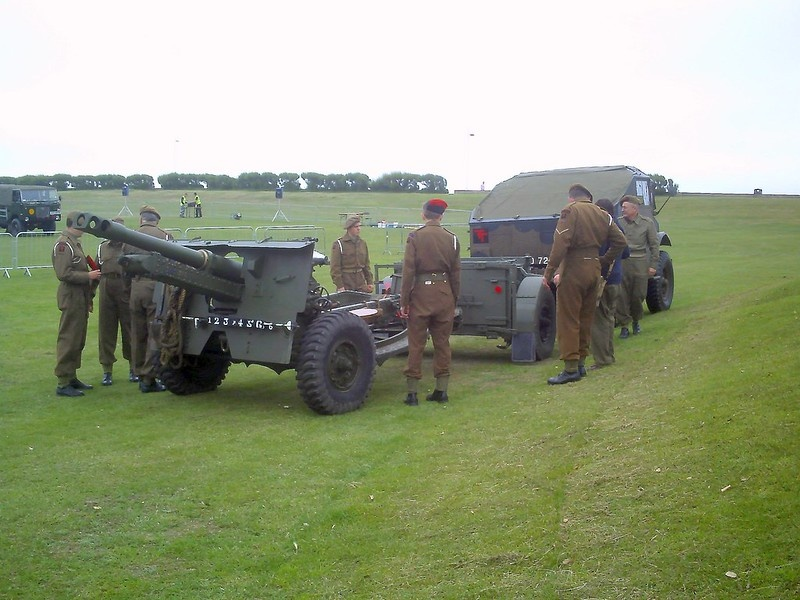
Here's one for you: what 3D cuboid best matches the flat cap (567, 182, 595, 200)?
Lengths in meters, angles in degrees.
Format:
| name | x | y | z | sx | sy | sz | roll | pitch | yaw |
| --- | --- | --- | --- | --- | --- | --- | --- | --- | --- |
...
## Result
| name | x | y | z | sx | sy | sz | roll | pitch | yaw |
| --- | --- | --- | --- | --- | --- | --- | --- | --- | --- |
| flat cap | 1.927 | -1.177 | 7.719 | 0.186 | 0.104 | 0.252 | 0 | -2 | 23 |

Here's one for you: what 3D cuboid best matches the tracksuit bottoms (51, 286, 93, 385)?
| name | x | y | z | sx | sy | sz | roll | pitch | yaw |
| --- | --- | --- | --- | --- | --- | --- | --- | --- | --- |
| tracksuit bottoms | -3.454 | 0.339 | 7.698 | 0.251 | 0.953 | 0.318 | 2 | 0 | 17 |

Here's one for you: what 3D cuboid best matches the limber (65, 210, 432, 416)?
| name | x | y | z | sx | sy | sz | roll | pitch | yaw |
| --- | --- | --- | --- | --- | --- | --- | --- | --- | --- |
| limber | -1.332 | 0.131 | 7.343 | 1.625 | 1.764 | 3.236 | 1 | 2 | 33 |

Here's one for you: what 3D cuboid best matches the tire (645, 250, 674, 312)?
| name | x | y | z | sx | sy | sz | roll | pitch | yaw |
| --- | --- | --- | --- | --- | --- | --- | --- | --- | --- |
| tire | 3.964 | -0.271 | 11.119 | 0.233 | 0.839 | 0.818 | -2 | 12 | 28 |

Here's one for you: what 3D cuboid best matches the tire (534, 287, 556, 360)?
| name | x | y | z | sx | sy | sz | roll | pitch | yaw |
| --- | --- | --- | --- | --- | --- | --- | --- | --- | --- |
| tire | 1.851 | 0.324 | 9.191 | 0.231 | 0.731 | 0.718 | 3 | 5 | 15 |

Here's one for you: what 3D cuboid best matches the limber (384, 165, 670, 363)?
| name | x | y | z | sx | sy | sz | roll | pitch | yaw |
| --- | --- | --- | --- | --- | --- | --- | --- | --- | --- |
| limber | 1.944 | -0.689 | 10.554 | 2.396 | 2.660 | 4.489 | 4 | 10 | 37 |

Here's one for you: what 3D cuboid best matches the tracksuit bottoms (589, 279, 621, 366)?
| name | x | y | z | sx | sy | sz | roll | pitch | yaw |
| --- | --- | --- | --- | --- | --- | --- | --- | --- | --- |
| tracksuit bottoms | 2.256 | 0.214 | 8.088 | 0.292 | 1.024 | 0.429 | 2 | 7 | 27 |

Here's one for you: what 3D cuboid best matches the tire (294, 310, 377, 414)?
| name | x | y | z | sx | sy | sz | roll | pitch | yaw |
| --- | --- | --- | --- | --- | --- | --- | --- | --- | --- |
| tire | -0.649 | 0.609 | 7.058 | 0.296 | 0.833 | 0.838 | -3 | -13 | 38 |

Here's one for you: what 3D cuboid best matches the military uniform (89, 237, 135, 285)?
| name | x | y | z | sx | sy | sz | roll | pitch | yaw |
| --- | --- | --- | --- | --- | --- | --- | --- | --- | --- |
| military uniform | -3.203 | -0.429 | 8.153 | 0.396 | 0.495 | 0.225 | -1 | -9 | -12 |
